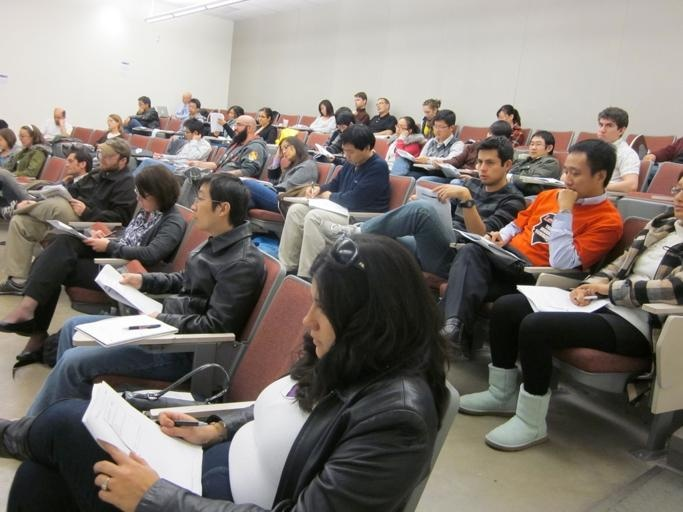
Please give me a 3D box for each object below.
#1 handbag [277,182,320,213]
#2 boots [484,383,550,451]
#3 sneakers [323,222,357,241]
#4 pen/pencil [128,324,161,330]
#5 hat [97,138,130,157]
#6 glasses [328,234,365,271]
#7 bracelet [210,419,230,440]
[{"bbox_3d":[-0.359,-0.446,3.968,0.277,0.102,0.272,-18,19,-26],"label":"handbag"},{"bbox_3d":[0.754,0.679,2.089,0.367,0.271,0.157,-5,6,-22],"label":"boots"},{"bbox_3d":[-0.019,-0.171,3.256,0.241,0.106,0.194,4,5,7],"label":"sneakers"},{"bbox_3d":[-0.699,0.252,1.682,0.093,0.014,0.014,-1,2,-24],"label":"pen/pencil"},{"bbox_3d":[-1.685,-0.807,3.557,0.191,0.100,0.138,13,9,-47],"label":"hat"},{"bbox_3d":[0.013,-0.005,1.053,0.076,0.055,0.030,40,-12,12],"label":"glasses"},{"bbox_3d":[-0.354,0.505,1.406,0.048,0.054,0.040,-16,7,-35],"label":"bracelet"}]
